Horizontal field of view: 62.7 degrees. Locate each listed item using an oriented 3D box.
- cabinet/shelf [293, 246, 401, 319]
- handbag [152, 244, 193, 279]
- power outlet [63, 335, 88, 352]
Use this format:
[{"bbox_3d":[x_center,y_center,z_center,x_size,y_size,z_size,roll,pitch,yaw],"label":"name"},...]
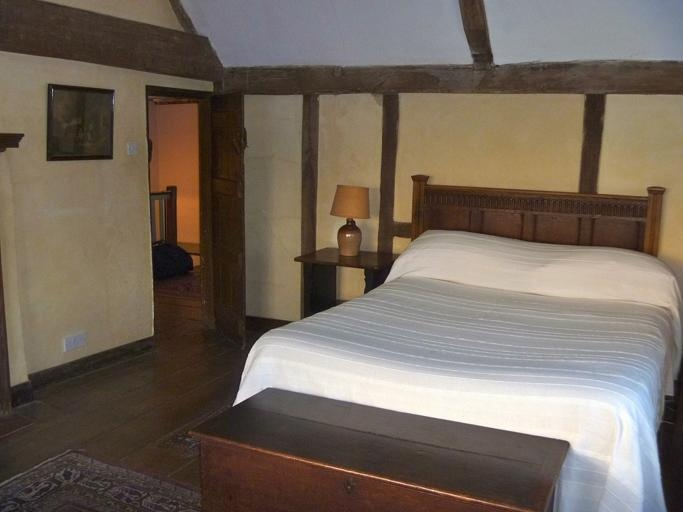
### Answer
[{"bbox_3d":[0.094,0.119,5.393,0.780,0.739,0.700,5,11,27],"label":"cabinet/shelf"},{"bbox_3d":[-2.322,0.070,7.560,0.530,0.159,0.393,11,14,42],"label":"handbag"},{"bbox_3d":[-2.169,0.704,4.569,0.022,0.083,0.159,1,3,20],"label":"power outlet"}]
